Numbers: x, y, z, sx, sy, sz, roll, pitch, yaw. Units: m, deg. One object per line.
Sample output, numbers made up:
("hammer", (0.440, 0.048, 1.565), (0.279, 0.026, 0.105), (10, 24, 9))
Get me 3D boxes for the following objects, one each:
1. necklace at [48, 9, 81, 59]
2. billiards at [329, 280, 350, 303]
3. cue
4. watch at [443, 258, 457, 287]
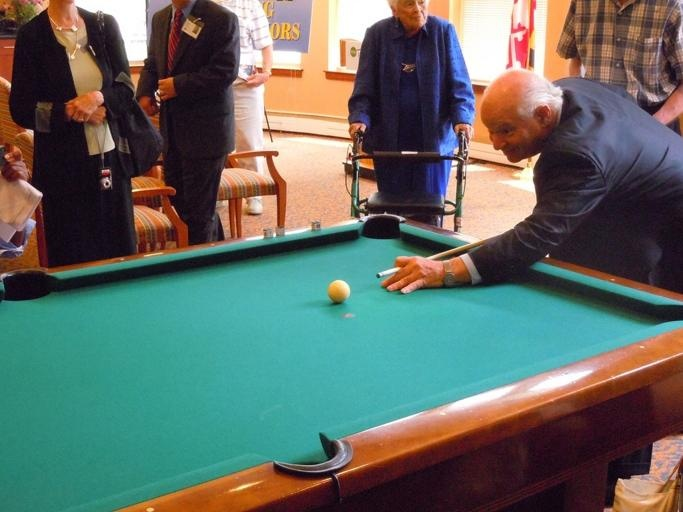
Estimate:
("necklace", (-1.366, -1.115, 2.864), (0.128, 0.200, 0.042), (-12, 5, -37))
("billiards", (-0.001, 0.122, 1.983), (0.070, 0.083, 0.071), (-4, -10, 2))
("cue", (0.395, -0.006, 2.233), (0.661, 0.050, 0.048), (-17, 10, -34))
("watch", (0.384, 0.062, 2.093), (0.047, 0.074, 0.069), (-2, -7, 1))
